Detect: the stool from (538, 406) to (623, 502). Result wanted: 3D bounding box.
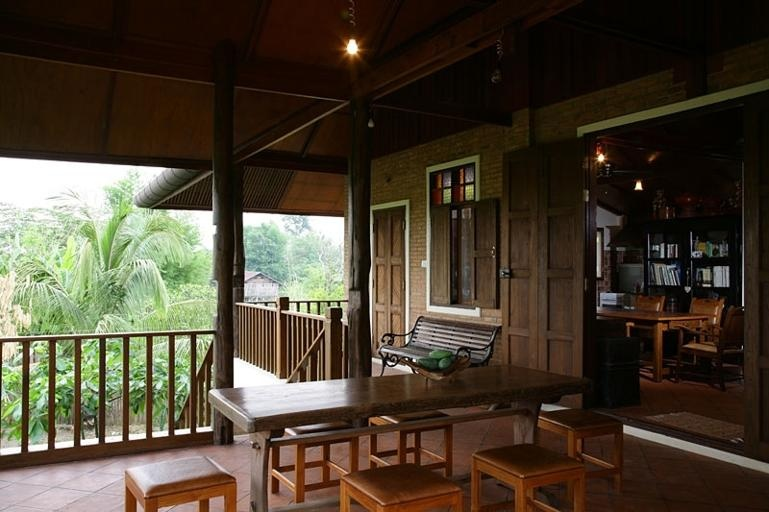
[{"bbox_3d":[1.934,1.900,5.764,0.831,0.916,0.872,3,-4,-16],"label":"stool"}]

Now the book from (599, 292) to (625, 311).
[{"bbox_3d":[5.469,1.055,13.509,0.357,0.454,0.598,-1,1,-25],"label":"book"}]

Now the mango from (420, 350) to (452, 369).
[{"bbox_3d":[0.471,0.959,5.177,0.262,0.127,0.150,-9,-16,26],"label":"mango"}]

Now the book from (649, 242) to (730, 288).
[{"bbox_3d":[6.443,0.191,11.757,0.329,0.893,0.935,3,-4,-27],"label":"book"}]

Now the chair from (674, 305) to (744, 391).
[{"bbox_3d":[5.492,1.419,9.476,0.905,1.395,1.692,1,6,33],"label":"chair"}]
